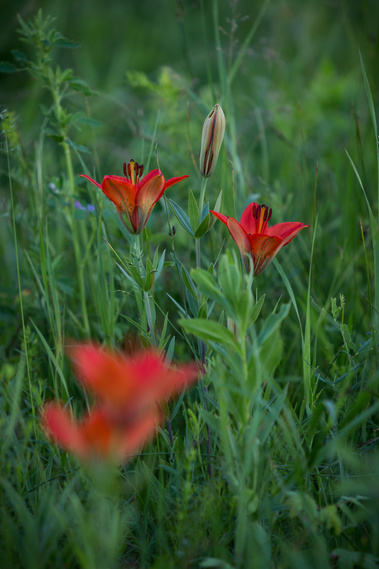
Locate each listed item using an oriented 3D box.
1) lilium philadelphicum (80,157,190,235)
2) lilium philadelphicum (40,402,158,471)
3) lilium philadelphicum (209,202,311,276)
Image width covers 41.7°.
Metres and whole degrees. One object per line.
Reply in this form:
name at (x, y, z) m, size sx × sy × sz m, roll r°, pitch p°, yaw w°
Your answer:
lilium philadelphicum at (-0.081, -0.098, 0.675) m, size 0.116 × 0.113 × 0.098 m, roll -2°, pitch 92°, yaw -36°
lilium philadelphicum at (-0.067, 0.109, 0.373) m, size 0.087 × 0.082 × 0.044 m, roll 1°, pitch 82°, yaw -45°
lilium philadelphicum at (0.097, -0.058, 0.648) m, size 0.092 × 0.111 × 0.092 m, roll 14°, pitch 82°, yaw -6°
